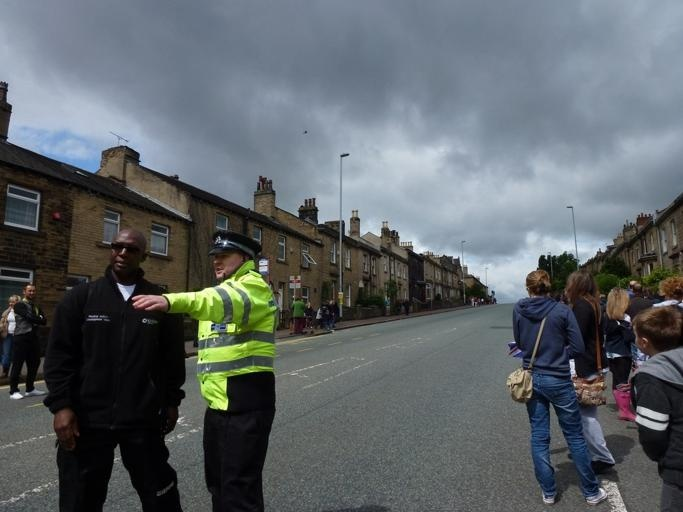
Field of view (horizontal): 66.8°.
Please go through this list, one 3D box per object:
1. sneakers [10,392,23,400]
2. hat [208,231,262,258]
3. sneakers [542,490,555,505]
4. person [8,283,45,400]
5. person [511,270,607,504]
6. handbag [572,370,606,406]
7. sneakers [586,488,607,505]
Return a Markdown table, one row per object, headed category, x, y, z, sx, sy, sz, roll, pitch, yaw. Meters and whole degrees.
| category | x | y | z | sx | sy | sz | roll | pitch | yaw |
| --- | --- | --- | --- | --- | --- | --- | --- | --- | --- |
| sneakers | -5.894 | 2.554 | 9.399 | 0.265 | 0.124 | 0.106 | -13 | -15 | 35 |
| hat | -0.912 | -0.168 | 4.552 | 0.308 | 0.164 | 0.288 | 14 | -25 | -28 |
| sneakers | 2.107 | 2.439 | 5.211 | 0.154 | 0.110 | 0.136 | -1 | -7 | 4 |
| person | -5.813 | 1.578 | 9.633 | 0.548 | 2.093 | 0.622 | 3 | -7 | -34 |
| person | 2.215 | 1.332 | 5.498 | 0.815 | 2.391 | 0.501 | -1 | -6 | 3 |
| handbag | 2.679 | 1.446 | 5.607 | 0.282 | 0.335 | 0.151 | -5 | -16 | 20 |
| sneakers | 2.563 | 2.423 | 5.194 | 0.250 | 0.136 | 0.101 | -14 | -5 | -45 |
